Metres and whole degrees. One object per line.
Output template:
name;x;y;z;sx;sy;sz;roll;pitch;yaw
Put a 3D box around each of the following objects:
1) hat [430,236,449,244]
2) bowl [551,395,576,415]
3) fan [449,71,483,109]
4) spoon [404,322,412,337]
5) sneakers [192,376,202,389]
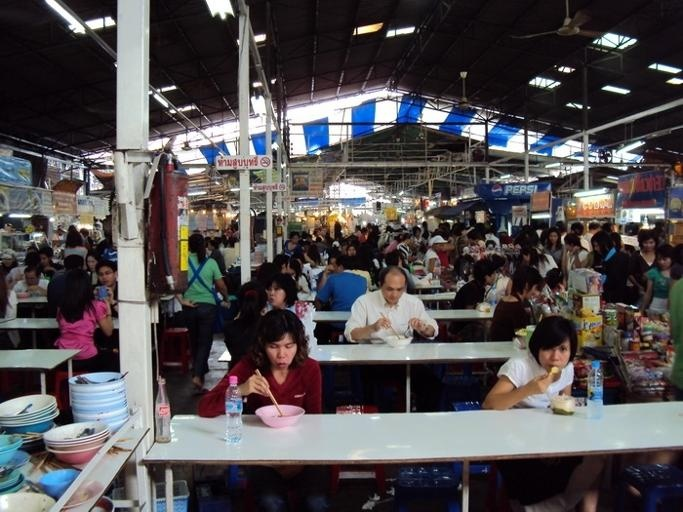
hat;1.821;-0.288;10.377;0.281;0.158;0.230;3;-3;1
bowl;1.456;0.974;3.657;0.116;0.082;0.119;1;-10;0
fan;3.504;-4.817;16.143;0.792;0.909;0.815;3;16;31
spoon;0.629;0.713;5.298;0.041;0.188;0.033;6;24;-3
sneakers;-1.649;1.449;6.411;0.109;0.135;0.142;-6;3;1
